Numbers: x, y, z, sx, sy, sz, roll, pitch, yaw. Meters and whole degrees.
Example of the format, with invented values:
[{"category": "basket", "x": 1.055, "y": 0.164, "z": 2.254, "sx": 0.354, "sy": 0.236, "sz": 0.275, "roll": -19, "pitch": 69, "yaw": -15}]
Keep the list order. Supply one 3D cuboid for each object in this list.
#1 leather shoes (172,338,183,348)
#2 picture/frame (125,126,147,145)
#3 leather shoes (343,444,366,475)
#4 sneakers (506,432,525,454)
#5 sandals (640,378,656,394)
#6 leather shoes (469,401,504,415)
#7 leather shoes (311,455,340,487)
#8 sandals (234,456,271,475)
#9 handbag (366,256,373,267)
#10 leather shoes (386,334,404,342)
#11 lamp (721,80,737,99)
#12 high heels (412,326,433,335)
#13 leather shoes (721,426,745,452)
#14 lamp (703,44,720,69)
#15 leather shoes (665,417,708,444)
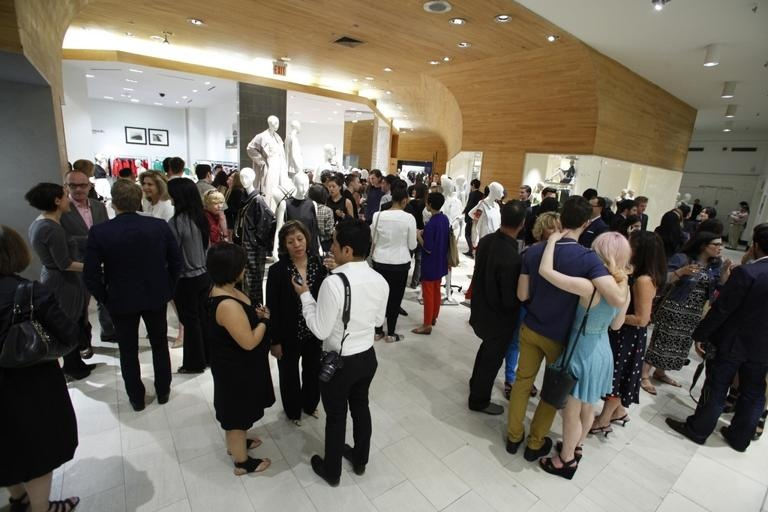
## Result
[{"category": "leather shoes", "x": -2.682, "y": 1.144, "z": 5.955, "sx": 0.100, "sy": 0.111, "sz": 0.124, "roll": 6, "pitch": -9, "yaw": -37}, {"category": "picture/frame", "x": -7.875, "y": -3.822, "z": 14.466, "sx": 0.712, "sy": 0.591, "sz": 0.056, "roll": 0, "pitch": 1, "yaw": -43}, {"category": "leather shoes", "x": -0.318, "y": 2.001, "z": 4.536, "sx": 0.130, "sy": 0.149, "sz": 0.377, "roll": -6, "pitch": 21, "yaw": -22}, {"category": "sneakers", "x": 1.397, "y": 1.959, "z": 4.861, "sx": 0.109, "sy": 0.134, "sz": 0.323, "roll": 3, "pitch": 9, "yaw": 24}, {"category": "sandals", "x": 3.358, "y": 1.650, "z": 5.817, "sx": 0.101, "sy": 0.101, "sz": 0.282, "roll": -9, "pitch": 0, "yaw": 12}, {"category": "leather shoes", "x": 1.197, "y": 1.743, "z": 5.285, "sx": 0.416, "sy": 0.174, "sz": 0.139, "roll": -5, "pitch": 16, "yaw": 10}, {"category": "leather shoes", "x": -0.547, "y": 2.061, "z": 4.370, "sx": 0.118, "sy": 0.211, "sz": 0.316, "roll": -19, "pitch": 53, "yaw": -32}, {"category": "sandals", "x": -1.278, "y": 2.036, "z": 4.428, "sx": 0.295, "sy": 0.115, "sz": 0.156, "roll": -3, "pitch": 7, "yaw": -26}, {"category": "handbag", "x": -0.283, "y": 0.120, "z": 8.360, "sx": 0.068, "sy": 0.199, "sz": 0.143, "roll": 8, "pitch": -13, "yaw": -36}, {"category": "leather shoes", "x": 0.138, "y": 1.120, "z": 6.382, "sx": 0.196, "sy": 0.070, "sz": 0.109, "roll": -5, "pitch": 11, "yaw": -25}, {"category": "lamp", "x": 7.392, "y": -3.592, "z": 9.817, "sx": 0.246, "sy": 0.428, "sz": 0.235, "roll": 5, "pitch": 13, "yaw": 15}, {"category": "high heels", "x": 0.561, "y": 1.076, "z": 6.660, "sx": 0.319, "sy": 0.123, "sz": 0.107, "roll": 5, "pitch": -1, "yaw": -3}, {"category": "leather shoes", "x": 3.877, "y": 2.029, "z": 5.105, "sx": 0.103, "sy": 0.124, "sz": 0.292, "roll": -6, "pitch": 21, "yaw": -2}, {"category": "lamp", "x": 5.662, "y": -3.473, "z": 7.918, "sx": 0.204, "sy": 0.336, "sz": 0.213, "roll": 1, "pitch": 22, "yaw": 16}, {"category": "leather shoes", "x": 3.389, "y": 1.954, "z": 5.185, "sx": 0.150, "sy": 0.175, "sz": 0.433, "roll": -19, "pitch": 23, "yaw": -13}]
